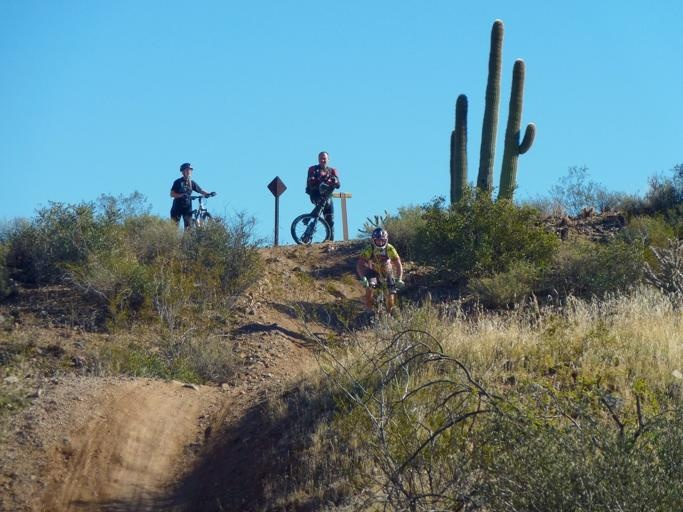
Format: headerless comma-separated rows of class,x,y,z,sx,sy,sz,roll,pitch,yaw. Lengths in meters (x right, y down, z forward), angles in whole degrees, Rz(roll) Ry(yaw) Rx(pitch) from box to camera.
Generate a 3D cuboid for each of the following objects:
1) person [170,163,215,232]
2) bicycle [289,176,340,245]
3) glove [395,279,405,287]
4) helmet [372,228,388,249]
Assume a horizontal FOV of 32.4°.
person,-3.830,-1.182,29.340,0.913,2.201,0.831,9,15,15
bicycle,-0.529,-1.095,27.061,0.662,1.742,0.908,13,22,0
glove,1.246,0.630,25.217,0.146,0.230,0.071,-2,-36,-5
helmet,0.832,-0.366,25.387,0.254,0.471,0.385,0,3,-3
